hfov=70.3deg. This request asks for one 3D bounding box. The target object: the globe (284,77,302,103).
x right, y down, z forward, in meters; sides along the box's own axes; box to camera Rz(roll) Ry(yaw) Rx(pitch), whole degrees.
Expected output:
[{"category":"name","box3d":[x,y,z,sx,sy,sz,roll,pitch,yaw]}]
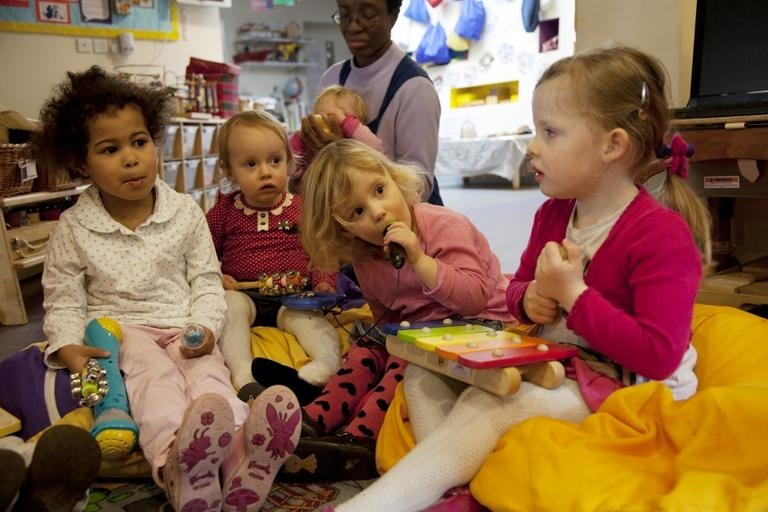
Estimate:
[{"category":"globe","box3d":[-1.333,-2.405,7.904,0.254,0.335,0.333,15,31,-9]}]

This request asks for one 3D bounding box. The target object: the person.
[{"category":"person","box3d":[-0.031,0.080,1.513,1.411,1.140,0.711,-9,1,-33]}]

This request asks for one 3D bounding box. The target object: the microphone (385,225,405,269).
[{"category":"microphone","box3d":[0.030,-0.027,1.611,0.037,0.037,0.132,-13,47,6]}]

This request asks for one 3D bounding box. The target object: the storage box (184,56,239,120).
[{"category":"storage box","box3d":[-1.554,-1.544,4.974,0.459,0.483,0.454,13,19,25]}]
